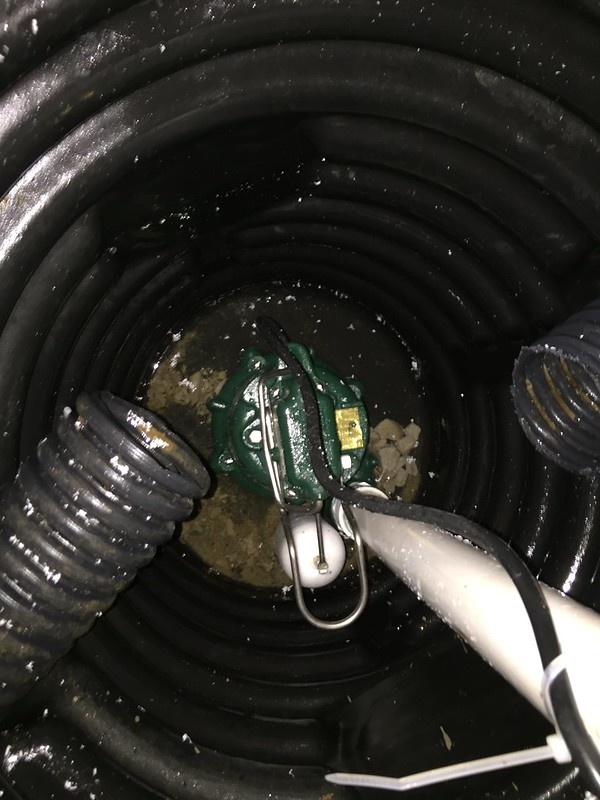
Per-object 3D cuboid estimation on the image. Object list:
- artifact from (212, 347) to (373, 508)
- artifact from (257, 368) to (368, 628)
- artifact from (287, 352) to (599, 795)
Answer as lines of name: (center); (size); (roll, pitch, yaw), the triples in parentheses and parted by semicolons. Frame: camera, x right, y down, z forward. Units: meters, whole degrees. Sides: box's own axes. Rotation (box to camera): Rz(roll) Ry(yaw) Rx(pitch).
artifact: (-0.032, 0.040, 1.459); (0.343, 0.098, 0.313); (-18, 104, 1)
artifact: (0.016, 0.197, 1.376); (0.166, 0.038, 0.502); (-14, 90, 15)
artifact: (0.149, 0.177, 0.947); (0.171, 0.045, 0.588); (-4, 42, -30)
